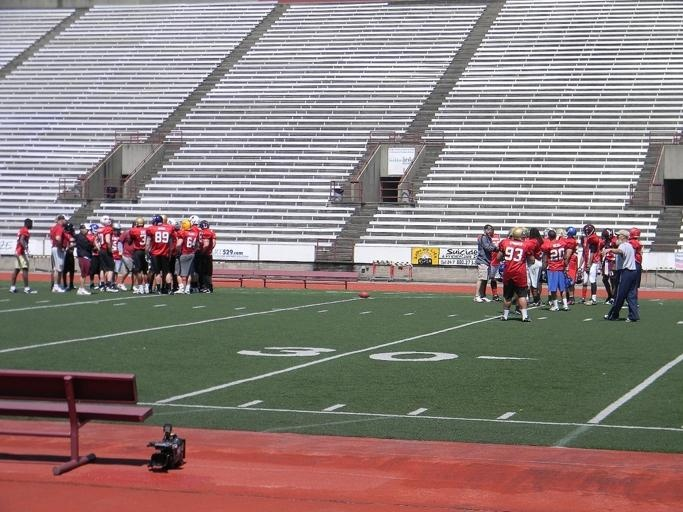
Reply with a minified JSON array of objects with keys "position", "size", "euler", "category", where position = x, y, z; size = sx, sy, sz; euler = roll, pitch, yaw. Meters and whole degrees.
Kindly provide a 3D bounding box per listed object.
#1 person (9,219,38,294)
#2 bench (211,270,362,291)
[{"position":[-8.890,0.038,41.432],"size":[0.742,2.070,1.069],"euler":[2,-3,-22],"category":"person"},{"position":[-1.704,0.807,45.764],"size":[4.435,0.476,2.378],"euler":[1,0,0],"category":"bench"}]
